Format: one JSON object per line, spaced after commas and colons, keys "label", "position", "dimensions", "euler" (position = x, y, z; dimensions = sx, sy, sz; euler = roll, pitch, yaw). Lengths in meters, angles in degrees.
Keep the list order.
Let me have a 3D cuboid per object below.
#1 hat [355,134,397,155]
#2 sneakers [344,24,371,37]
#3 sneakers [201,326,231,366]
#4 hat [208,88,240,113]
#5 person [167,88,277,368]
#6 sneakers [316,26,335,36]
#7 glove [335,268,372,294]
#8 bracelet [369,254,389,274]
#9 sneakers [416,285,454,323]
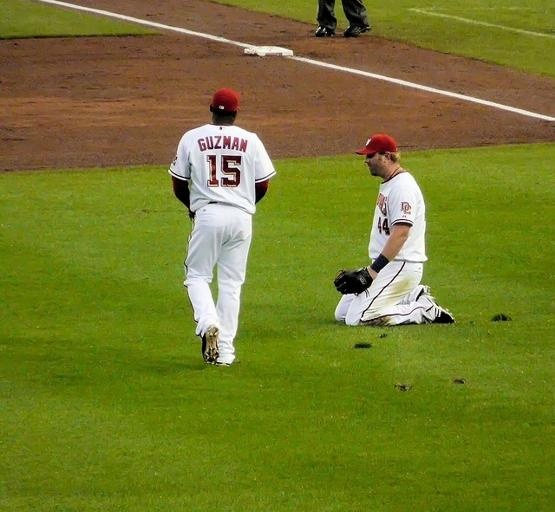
{"label": "hat", "position": [0.841, -0.915, 9.650], "dimensions": [0.376, 0.183, 0.233], "euler": [0, 14, 3]}
{"label": "sneakers", "position": [1.712, -4.593, 23.937], "dimensions": [0.625, 0.281, 0.222], "euler": [-10, 10, -37]}
{"label": "sneakers", "position": [-0.441, 0.667, 8.840], "dimensions": [0.278, 0.307, 0.211], "euler": [4, 13, -10]}
{"label": "hat", "position": [-0.411, -1.199, 9.063], "dimensions": [0.212, 0.188, 0.240], "euler": [5, 13, -7]}
{"label": "person", "position": [-0.372, -0.228, 8.950], "dimensions": [0.748, 2.010, 0.781], "euler": [0, 14, -24]}
{"label": "sneakers", "position": [0.997, -4.541, 23.749], "dimensions": [0.172, 0.192, 0.454], "euler": [-6, 17, -24]}
{"label": "glove", "position": [0.629, 0.207, 9.518], "dimensions": [0.303, 0.226, 0.130], "euler": [12, 14, 26]}
{"label": "bracelet", "position": [0.840, 0.066, 9.475], "dimensions": [0.123, 0.116, 0.142], "euler": [51, -3, 15]}
{"label": "sneakers", "position": [1.302, 0.433, 9.684], "dimensions": [0.349, 0.137, 0.222], "euler": [49, 16, 22]}
